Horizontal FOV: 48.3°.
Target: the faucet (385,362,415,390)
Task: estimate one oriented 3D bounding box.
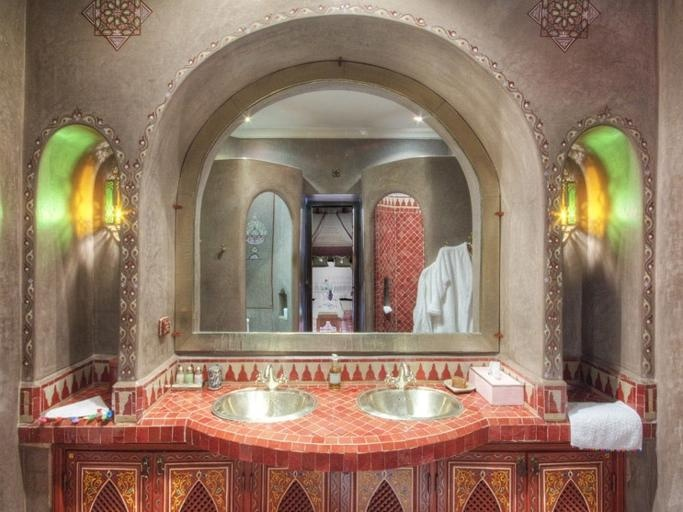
[{"bbox_3d":[0.363,0.770,4.791,0.173,0.170,0.151,2,-4,-9],"label":"faucet"}]

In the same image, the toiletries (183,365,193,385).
[{"bbox_3d":[-0.961,0.748,4.778,0.057,0.114,0.086,0,-3,-13],"label":"toiletries"}]

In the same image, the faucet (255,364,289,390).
[{"bbox_3d":[-0.436,0.744,4.740,0.129,0.108,0.190,0,0,-2],"label":"faucet"}]

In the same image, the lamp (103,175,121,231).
[{"bbox_3d":[-1.461,-0.339,4.870,0.179,0.342,0.074,-2,-3,44],"label":"lamp"}]

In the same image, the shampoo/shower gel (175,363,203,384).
[{"bbox_3d":[-0.957,0.754,4.760,0.117,0.085,0.128,1,1,1],"label":"shampoo/shower gel"}]

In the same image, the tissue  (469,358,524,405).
[{"bbox_3d":[0.949,0.780,4.686,0.207,0.255,0.366,1,-3,-18],"label":"tissue "}]

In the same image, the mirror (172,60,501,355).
[{"bbox_3d":[-0.029,-0.259,4.947,1.555,1.685,0.094,0,-4,-2],"label":"mirror"}]

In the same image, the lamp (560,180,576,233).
[{"bbox_3d":[1.484,-0.329,4.944,0.082,0.347,0.088,-4,-30,23],"label":"lamp"}]

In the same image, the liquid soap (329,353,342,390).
[{"bbox_3d":[-0.042,0.734,4.811,0.070,0.207,0.076,0,-2,10],"label":"liquid soap"}]

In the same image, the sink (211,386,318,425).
[{"bbox_3d":[-0.458,0.894,4.546,0.622,0.171,0.444,0,-3,-2],"label":"sink"}]

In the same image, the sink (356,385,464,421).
[{"bbox_3d":[0.411,0.893,4.570,0.630,0.166,0.394,0,-3,-1],"label":"sink"}]

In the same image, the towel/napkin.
[{"bbox_3d":[1.530,0.996,4.388,0.278,0.164,0.307,-2,-7,7],"label":"towel/napkin"}]

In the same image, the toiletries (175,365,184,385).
[{"bbox_3d":[-1.018,0.752,4.771,0.049,0.122,0.081,0,-3,-14],"label":"toiletries"}]
